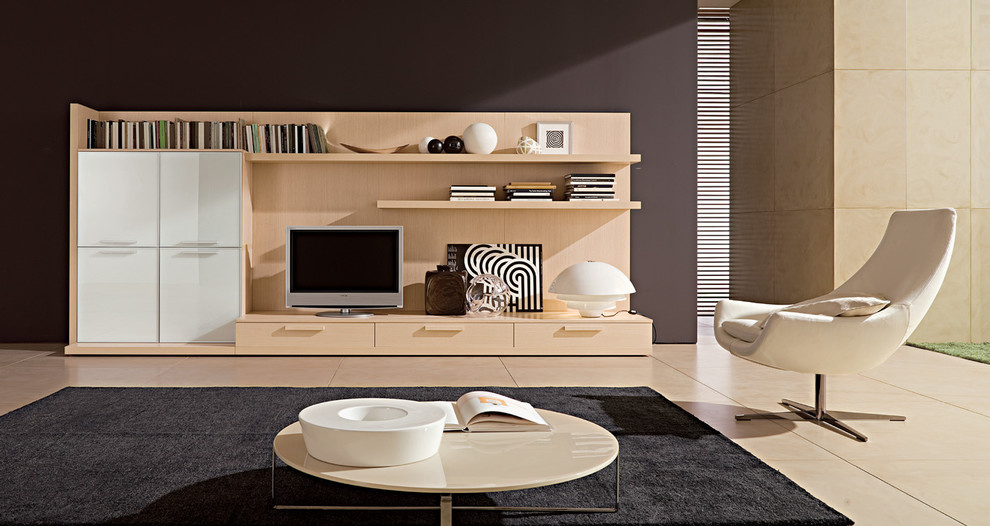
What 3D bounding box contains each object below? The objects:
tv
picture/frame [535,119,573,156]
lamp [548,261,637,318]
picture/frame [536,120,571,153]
[{"bbox_3d":[-1.708,0.083,7.772,1.378,0.773,0.310,0,-1,-2],"label":"tv"},{"bbox_3d":[0.693,-1.445,7.999,0.611,0.445,0.037,0,3,0],"label":"picture/frame"},{"bbox_3d":[1.063,0.285,7.598,0.864,0.425,0.754,0,0,14],"label":"lamp"},{"bbox_3d":[0.689,-1.455,8.010,0.531,0.388,0.033,0,4,0],"label":"picture/frame"}]
